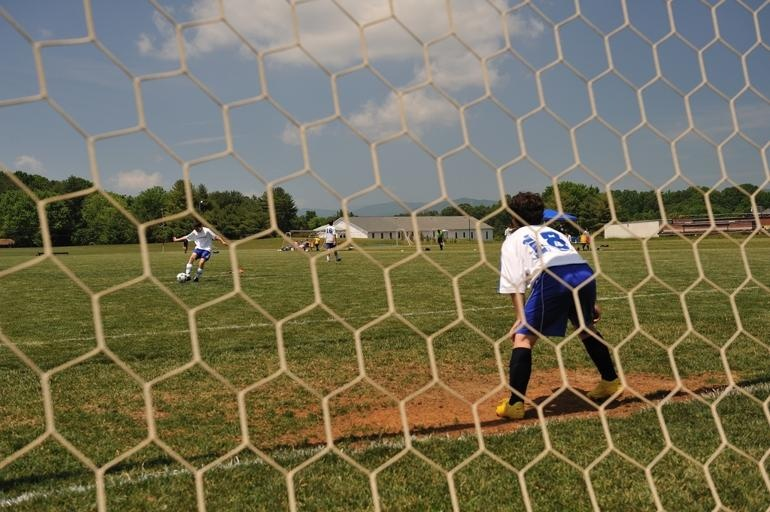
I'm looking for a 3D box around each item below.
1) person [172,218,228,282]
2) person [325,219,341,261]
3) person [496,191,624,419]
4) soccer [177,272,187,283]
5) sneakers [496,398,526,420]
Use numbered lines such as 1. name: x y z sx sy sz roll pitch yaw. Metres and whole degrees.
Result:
1. person: -3.773 -0.017 12.732 1.077 1.084 0.634 -3 -14 21
2. person: -1.669 -0.465 19.991 0.550 1.291 0.442 4 6 15
3. person: 1.362 0.415 5.095 0.922 1.858 1.614 4 9 32
4. soccer: -4.280 0.470 13.245 0.262 0.232 0.253 4 -4 -42
5. sneakers: 1.042 1.271 5.217 0.130 0.110 0.236 0 -1 -18
